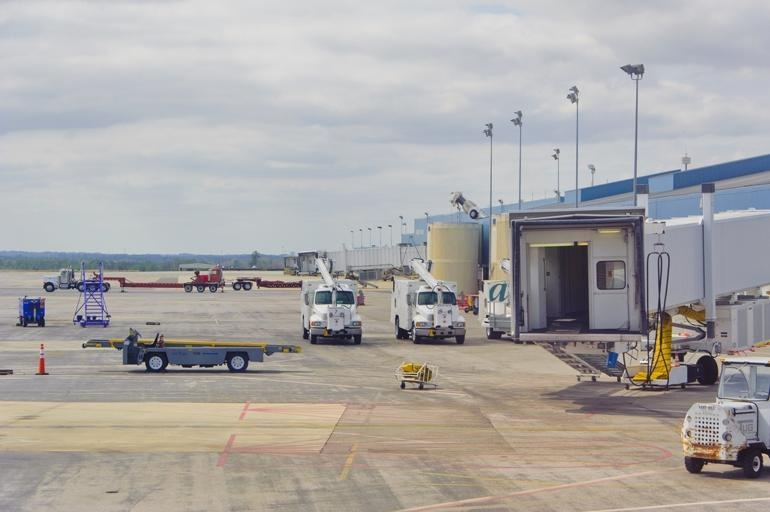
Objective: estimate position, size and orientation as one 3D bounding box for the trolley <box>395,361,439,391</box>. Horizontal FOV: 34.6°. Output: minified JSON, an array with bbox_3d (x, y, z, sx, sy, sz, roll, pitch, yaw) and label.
[{"bbox_3d":[1.473,5.295,54.361,1.701,0.838,1.101,5,-7,-34],"label":"trolley"}]

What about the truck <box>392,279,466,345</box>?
[{"bbox_3d":[2.125,3.125,68.356,3.208,2.877,7.521,0,-1,-8],"label":"truck"}]

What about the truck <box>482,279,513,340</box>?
[{"bbox_3d":[6.261,3.092,70.608,1.485,4.018,3.452,1,12,2],"label":"truck"}]

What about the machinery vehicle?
[{"bbox_3d":[-9.514,4.512,58.567,5.320,2.116,5.144,1,-5,-20],"label":"machinery vehicle"}]

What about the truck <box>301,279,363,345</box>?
[{"bbox_3d":[-2.988,2.987,66.428,3.025,2.612,6.938,0,-1,-8],"label":"truck"}]
